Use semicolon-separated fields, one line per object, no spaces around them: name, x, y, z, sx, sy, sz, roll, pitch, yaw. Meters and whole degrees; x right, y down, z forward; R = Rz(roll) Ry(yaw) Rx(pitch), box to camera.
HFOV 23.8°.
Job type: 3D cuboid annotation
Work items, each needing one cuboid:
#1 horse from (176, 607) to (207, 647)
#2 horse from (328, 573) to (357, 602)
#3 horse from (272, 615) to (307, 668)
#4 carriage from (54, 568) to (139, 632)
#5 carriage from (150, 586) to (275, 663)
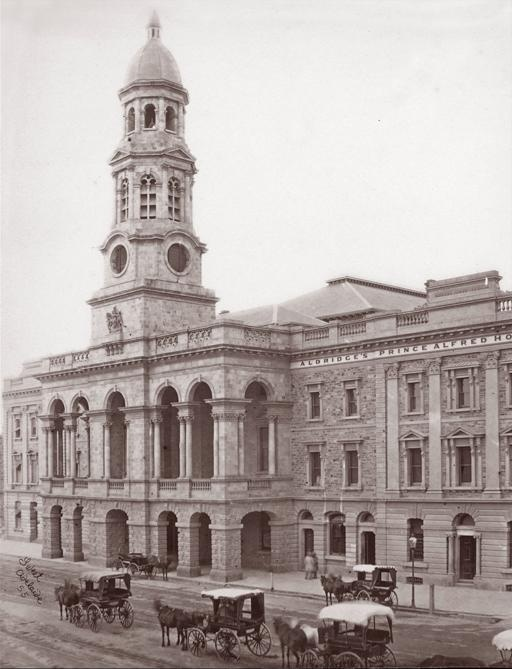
horse;-2.243;9.890;41.017;0.837;1.181;1.302;7;-44;-8
horse;3.331;9.977;47.277;0.912;0.940;1.519;0;-12;-16
horse;0.869;9.497;37.648;0.573;1.654;2.322;5;-17;-13
carriage;-5.979;10.067;45.919;1.551;2.091;3.445;4;-8;-35
carriage;-1.669;9.812;40.929;4.429;2.358;1.417;-3;-3;36
